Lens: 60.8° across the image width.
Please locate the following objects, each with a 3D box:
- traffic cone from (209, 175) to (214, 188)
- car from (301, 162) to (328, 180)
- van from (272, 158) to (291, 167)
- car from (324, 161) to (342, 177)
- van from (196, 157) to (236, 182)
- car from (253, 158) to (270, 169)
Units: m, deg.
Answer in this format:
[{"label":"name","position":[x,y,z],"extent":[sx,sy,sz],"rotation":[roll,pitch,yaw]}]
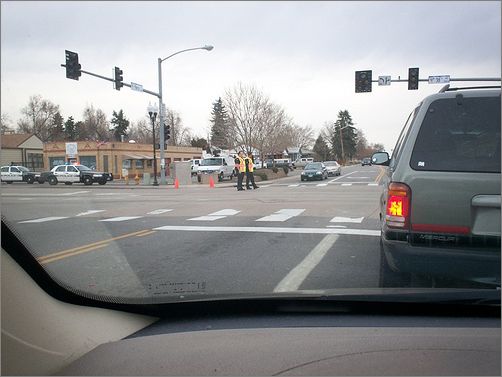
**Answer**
[{"label":"traffic cone","position":[-2.873,-0.505,29.552],"extent":[0.577,0.876,0.593],"rotation":[-2,4,-2]},{"label":"car","position":[5.105,-1.366,34.425],"extent":[1.551,1.429,3.030],"rotation":[0,4,25]},{"label":"van","position":[5.098,-3.923,68.686],"extent":[2.525,1.417,1.571],"rotation":[1,7,2]},{"label":"car","position":[8.068,-1.968,42.016],"extent":[1.086,0.964,2.762],"rotation":[-2,-2,16]},{"label":"van","position":[-3.064,-1.735,37.606],"extent":[1.979,1.895,4.201],"rotation":[-1,0,15]},{"label":"car","position":[1.530,-3.879,64.219],"extent":[2.580,1.498,1.658],"rotation":[-4,2,28]}]
